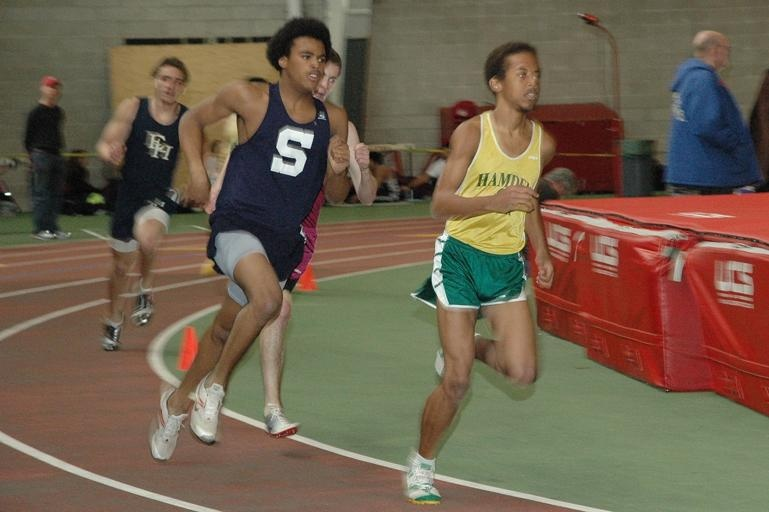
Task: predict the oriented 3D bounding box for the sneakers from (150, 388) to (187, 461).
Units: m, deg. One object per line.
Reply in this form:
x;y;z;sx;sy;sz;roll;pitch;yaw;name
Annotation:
-1.183;0.924;3.669;0.165;0.430;0.186;15;-16;-32;sneakers

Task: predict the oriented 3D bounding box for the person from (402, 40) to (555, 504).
0.509;0.021;3.472;0.915;2.244;0.792;-2;10;-7;person

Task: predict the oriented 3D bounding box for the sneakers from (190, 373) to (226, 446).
-0.928;0.809;3.485;0.140;0.178;0.399;17;36;-28;sneakers

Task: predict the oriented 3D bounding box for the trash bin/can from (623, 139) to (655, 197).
3.310;-1.146;8.725;0.387;0.723;0.880;3;11;19;trash bin/can

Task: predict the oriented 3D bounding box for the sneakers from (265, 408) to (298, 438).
-0.596;0.952;3.806;0.106;0.125;0.268;18;-14;-31;sneakers

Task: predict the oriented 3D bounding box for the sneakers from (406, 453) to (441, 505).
0.192;1.082;3.264;0.162;0.235;0.095;0;10;6;sneakers

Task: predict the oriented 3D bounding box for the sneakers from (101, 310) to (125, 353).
-2.303;0.683;5.687;0.119;0.226;0.327;14;14;-25;sneakers

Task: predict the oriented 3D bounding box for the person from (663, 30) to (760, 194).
3.003;-1.298;6.051;0.770;1.485;0.606;3;11;21;person

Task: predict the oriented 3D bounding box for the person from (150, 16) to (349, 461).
-0.748;-0.093;3.718;1.155;2.449;0.777;-2;10;-8;person
